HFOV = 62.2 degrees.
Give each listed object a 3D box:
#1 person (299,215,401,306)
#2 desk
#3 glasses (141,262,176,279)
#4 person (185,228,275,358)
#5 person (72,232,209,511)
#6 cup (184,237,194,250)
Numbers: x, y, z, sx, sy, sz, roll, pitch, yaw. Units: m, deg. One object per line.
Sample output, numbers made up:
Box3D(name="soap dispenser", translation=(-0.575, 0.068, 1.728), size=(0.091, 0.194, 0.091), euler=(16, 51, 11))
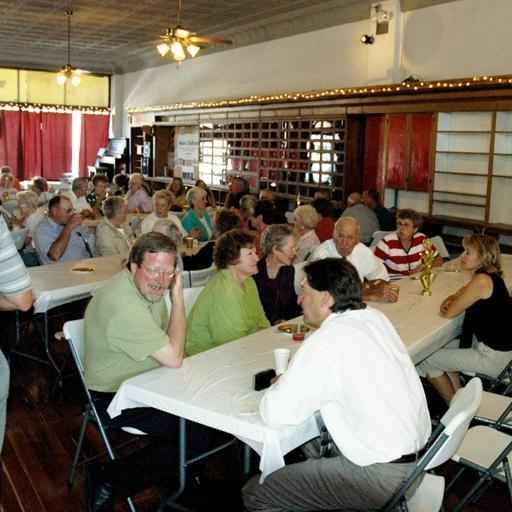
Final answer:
Box3D(name="person", translation=(0.751, 0.041, 3.607), size=(0.944, 0.648, 0.531), euler=(-2, 20, -3))
Box3D(name="desk", translation=(0.027, 0.592, 2.073), size=(1.551, 0.353, 1.015), euler=(-7, 12, -43))
Box3D(name="glasses", translation=(-0.426, 0.064, 1.868), size=(0.148, 0.072, 0.068), euler=(0, 7, -20))
Box3D(name="person", translation=(-0.136, 0.186, 2.729), size=(0.706, 0.872, 0.739), euler=(1, 17, 6))
Box3D(name="person", translation=(-0.513, 0.567, 1.962), size=(0.522, 1.353, 0.515), euler=(0, 7, -21))
Box3D(name="cup", translation=(-0.740, -0.149, 4.807), size=(0.129, 0.118, 0.128), euler=(0, 5, 0))
